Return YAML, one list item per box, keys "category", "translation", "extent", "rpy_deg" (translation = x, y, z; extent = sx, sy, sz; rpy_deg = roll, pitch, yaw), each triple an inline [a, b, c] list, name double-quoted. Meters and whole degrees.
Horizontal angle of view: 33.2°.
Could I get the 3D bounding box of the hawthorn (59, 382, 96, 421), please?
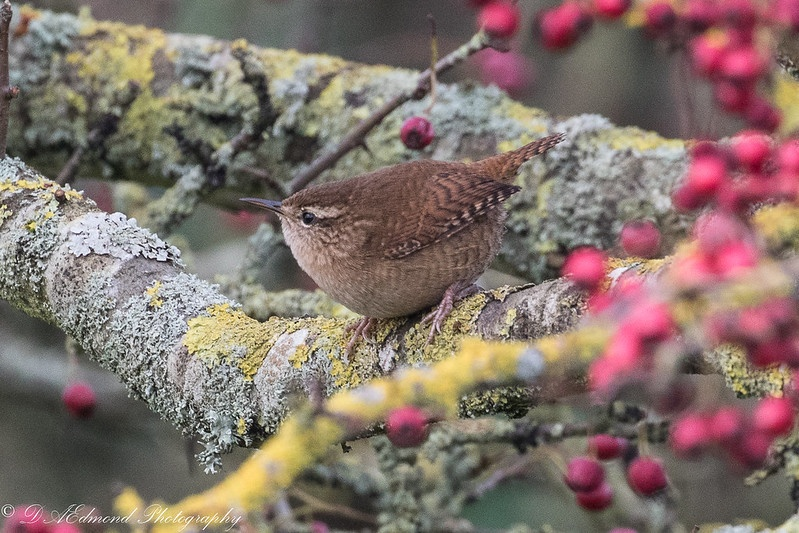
- category: "hawthorn"
  translation: [-1.786, 0.777, 7.623]
  extent: [0.195, 0.189, 0.215]
  rpy_deg: [-9, 79, -15]
